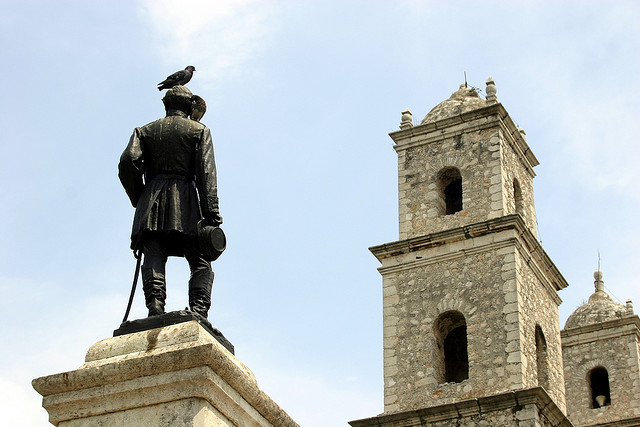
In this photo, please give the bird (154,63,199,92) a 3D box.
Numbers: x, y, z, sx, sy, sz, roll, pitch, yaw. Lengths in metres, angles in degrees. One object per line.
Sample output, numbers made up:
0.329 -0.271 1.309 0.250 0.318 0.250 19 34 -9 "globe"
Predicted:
-2.708 -2.529 28.739 0.754 0.480 0.251 -3 -11 12 "bird"
